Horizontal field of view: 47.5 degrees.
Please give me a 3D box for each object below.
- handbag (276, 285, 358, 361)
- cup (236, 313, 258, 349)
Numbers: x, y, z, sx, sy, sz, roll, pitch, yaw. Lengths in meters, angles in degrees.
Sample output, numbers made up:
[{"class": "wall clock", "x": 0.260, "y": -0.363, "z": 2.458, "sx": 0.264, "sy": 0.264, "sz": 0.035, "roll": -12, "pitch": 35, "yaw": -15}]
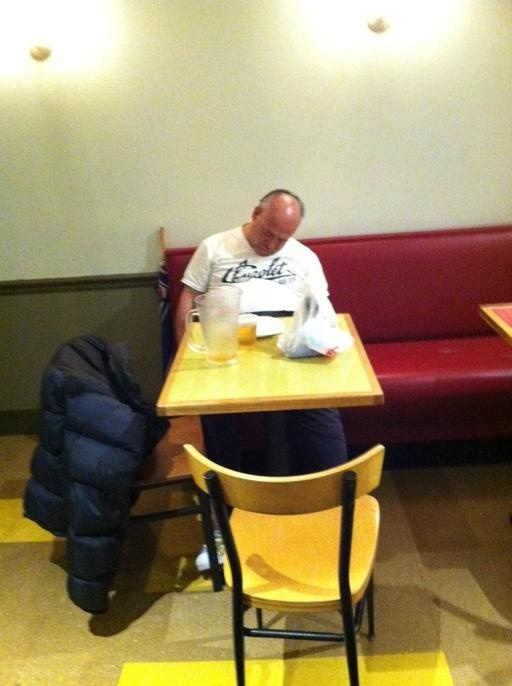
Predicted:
[{"class": "handbag", "x": 0.146, "y": -0.049, "z": 1.605, "sx": 0.194, "sy": 0.178, "sz": 0.189, "roll": -31, "pitch": 42, "yaw": -33}, {"class": "cup", "x": -0.027, "y": -0.033, "z": 1.607, "sx": 0.073, "sy": 0.077, "sz": 0.075, "roll": 0, "pitch": 9, "yaw": 0}]
